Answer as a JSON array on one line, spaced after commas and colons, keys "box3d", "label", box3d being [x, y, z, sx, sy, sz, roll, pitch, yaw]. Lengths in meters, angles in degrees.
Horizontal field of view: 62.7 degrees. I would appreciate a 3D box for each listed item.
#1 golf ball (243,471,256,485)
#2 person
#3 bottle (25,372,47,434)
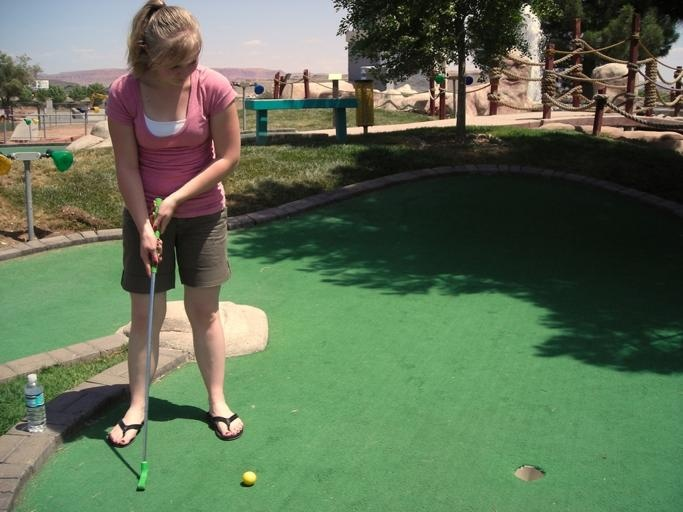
[{"box3d": [-0.475, 1.142, 2.871, 0.058, 0.058, 0.059, 2, 11, 0], "label": "golf ball"}, {"box3d": [-0.937, -0.129, 3.114, 0.817, 2.398, 0.410, -4, 13, -6], "label": "person"}, {"box3d": [-1.760, 0.817, 3.188, 0.110, 0.324, 0.204, -11, 16, -31], "label": "bottle"}]
